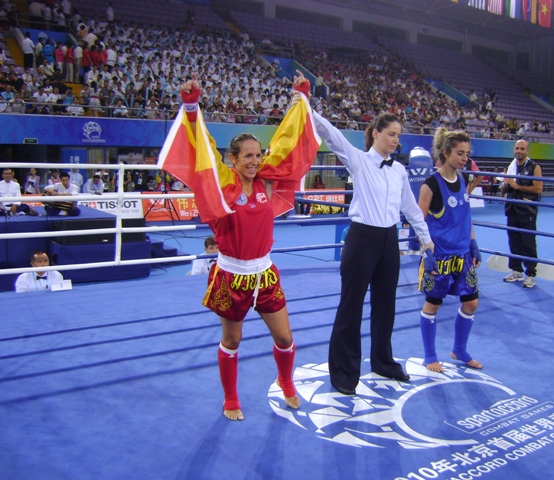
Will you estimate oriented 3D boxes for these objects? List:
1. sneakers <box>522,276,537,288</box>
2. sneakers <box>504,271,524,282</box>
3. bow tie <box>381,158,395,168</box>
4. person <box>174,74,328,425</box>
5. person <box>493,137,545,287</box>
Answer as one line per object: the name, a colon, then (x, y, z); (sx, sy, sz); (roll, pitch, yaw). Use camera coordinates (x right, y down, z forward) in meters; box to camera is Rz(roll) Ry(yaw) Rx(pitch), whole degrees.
sneakers: (2.683, 0.463, 5.210); (0.078, 0.107, 0.229); (-2, -1, 33)
sneakers: (2.604, 0.408, 5.408); (0.265, 0.143, 0.098); (1, -2, -1)
bow tie: (0.638, -0.444, 2.819); (0.101, 0.054, 0.028); (-4, 10, -28)
person: (-0.060, 0.023, 2.565); (0.371, 1.777, 0.631); (9, 11, 40)
person: (2.670, -0.297, 5.355); (0.436, 1.587, 0.900); (6, 10, 28)
